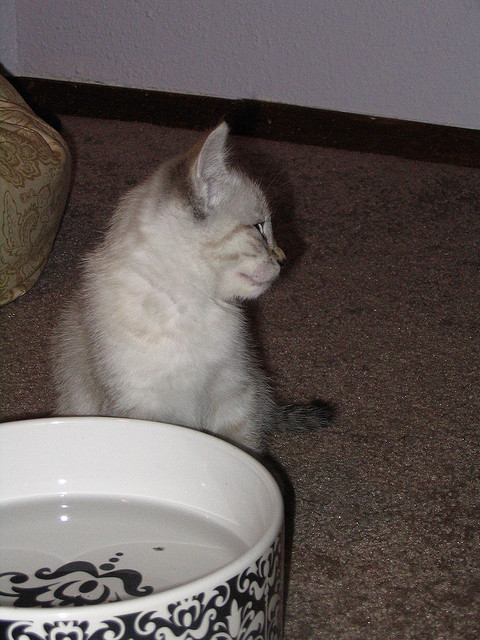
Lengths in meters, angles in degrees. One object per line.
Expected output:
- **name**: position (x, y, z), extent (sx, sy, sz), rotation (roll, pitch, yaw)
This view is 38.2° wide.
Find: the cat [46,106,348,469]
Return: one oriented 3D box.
- **cat**: position (-0.166, -0.046, 1.084), extent (0.545, 0.345, 0.462), rotation (3, 91, 6)
